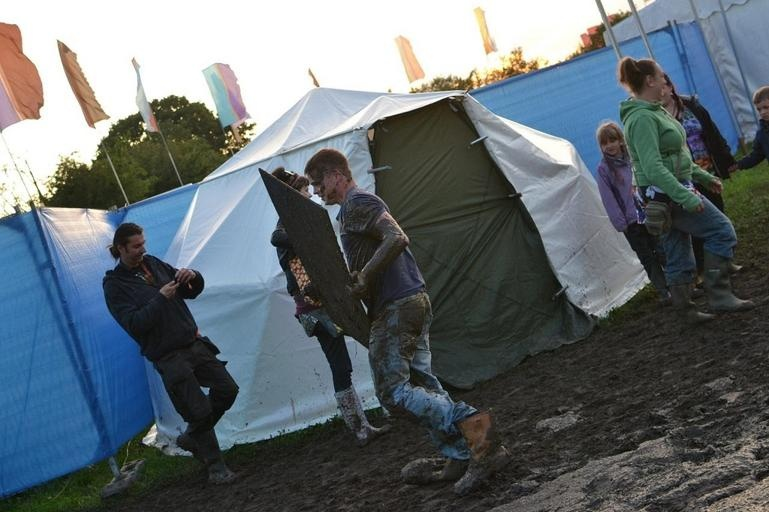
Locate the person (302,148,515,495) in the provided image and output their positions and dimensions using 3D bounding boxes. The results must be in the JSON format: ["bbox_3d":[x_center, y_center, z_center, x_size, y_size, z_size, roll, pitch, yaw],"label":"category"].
[{"bbox_3d":[0.269,0.643,4.849,0.912,1.935,0.563,-14,9,13],"label":"person"}]

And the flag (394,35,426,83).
[{"bbox_3d":[0.549,-4.461,13.350,0.442,1.159,1.129,-15,9,6],"label":"flag"}]

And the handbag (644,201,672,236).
[{"bbox_3d":[2.679,-0.375,5.858,0.204,0.291,0.157,8,29,40],"label":"handbag"}]

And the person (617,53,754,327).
[{"bbox_3d":[2.907,-0.674,5.913,0.830,2.755,0.662,-17,9,-6],"label":"person"}]

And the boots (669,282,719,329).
[{"bbox_3d":[3.131,0.461,6.074,0.433,0.504,0.229,-5,21,18],"label":"boots"}]

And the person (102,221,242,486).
[{"bbox_3d":[-2.186,1.008,6.256,0.972,2.634,0.656,-20,10,-27],"label":"person"}]

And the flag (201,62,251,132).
[{"bbox_3d":[-3.081,-3.198,11.573,0.565,0.206,1.385,-23,-37,-4],"label":"flag"}]

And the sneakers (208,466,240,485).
[{"bbox_3d":[-1.730,2.308,6.261,0.357,0.263,0.157,-5,-9,13],"label":"sneakers"}]

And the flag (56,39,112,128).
[{"bbox_3d":[-4.820,-2.748,9.459,0.393,1.440,0.478,-19,9,-21],"label":"flag"}]
